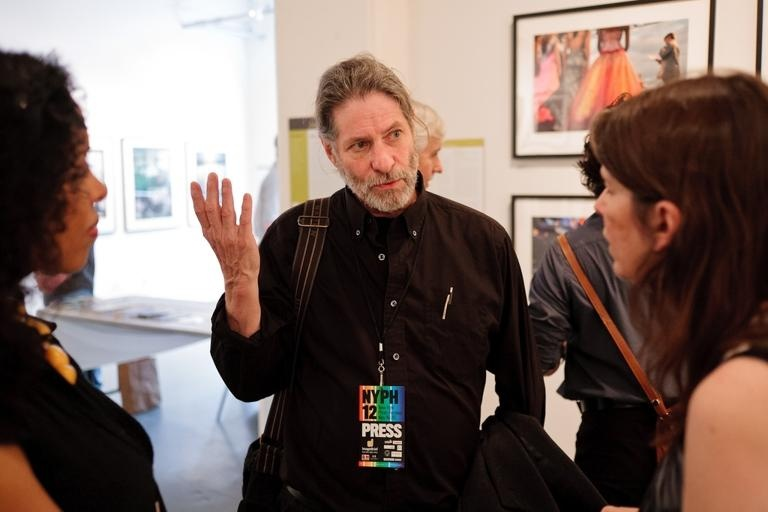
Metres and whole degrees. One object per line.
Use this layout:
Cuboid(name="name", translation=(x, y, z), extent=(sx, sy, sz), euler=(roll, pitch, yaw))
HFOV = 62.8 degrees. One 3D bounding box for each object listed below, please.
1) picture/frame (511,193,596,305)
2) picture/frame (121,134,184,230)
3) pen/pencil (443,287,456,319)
Cuboid(name="picture/frame", translation=(0.871, -0.054, 3.175), extent=(0.587, 0.698, 0.035), euler=(0, 7, 7))
Cuboid(name="picture/frame", translation=(-1.101, -0.345, 2.950), extent=(0.031, 0.469, 0.455), euler=(1, 2, 26))
Cuboid(name="pen/pencil", translation=(0.257, 0.181, 2.513), extent=(0.026, 0.156, 0.021), euler=(10, -32, 18))
